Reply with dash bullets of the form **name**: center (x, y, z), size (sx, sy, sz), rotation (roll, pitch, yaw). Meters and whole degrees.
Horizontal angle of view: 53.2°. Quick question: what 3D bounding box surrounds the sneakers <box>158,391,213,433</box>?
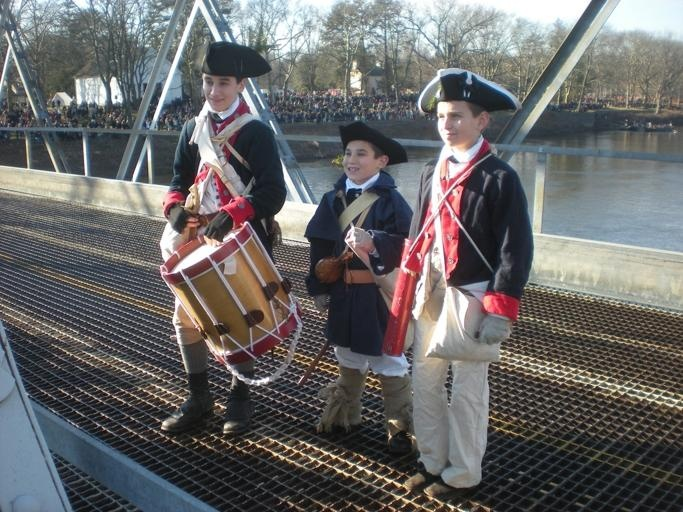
- **sneakers**: center (-0.769, 0.804, 3.441), size (0.118, 0.189, 0.309), rotation (24, 23, 35)

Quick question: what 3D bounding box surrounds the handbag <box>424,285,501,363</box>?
- **handbag**: center (0.506, 0.283, 2.801), size (0.332, 0.304, 0.176), rotation (6, 0, 9)

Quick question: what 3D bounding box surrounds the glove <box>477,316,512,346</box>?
- **glove**: center (0.616, 0.299, 2.749), size (0.126, 0.144, 0.091), rotation (5, 14, 12)

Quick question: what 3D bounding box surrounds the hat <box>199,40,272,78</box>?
- **hat**: center (-0.508, -0.942, 3.359), size (0.275, 0.094, 0.206), rotation (-7, 46, -30)

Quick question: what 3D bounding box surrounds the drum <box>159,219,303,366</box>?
- **drum**: center (-0.670, 0.210, 3.308), size (0.649, 0.621, 0.629), rotation (-13, 16, -15)

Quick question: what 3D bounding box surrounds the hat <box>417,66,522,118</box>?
- **hat**: center (0.520, -0.699, 2.919), size (0.460, 0.197, 0.303), rotation (8, 15, 23)

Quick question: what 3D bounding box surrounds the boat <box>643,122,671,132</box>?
- **boat**: center (2.610, -1.062, 5.619), size (0.232, 0.073, 0.133), rotation (10, 16, 29)

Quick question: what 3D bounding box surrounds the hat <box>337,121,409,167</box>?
- **hat**: center (0.156, -0.551, 3.316), size (0.336, 0.208, 0.193), rotation (2, 14, 2)

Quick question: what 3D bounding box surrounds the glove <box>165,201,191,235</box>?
- **glove**: center (-0.792, -0.188, 3.299), size (0.049, 0.104, 0.141), rotation (17, 37, -55)
